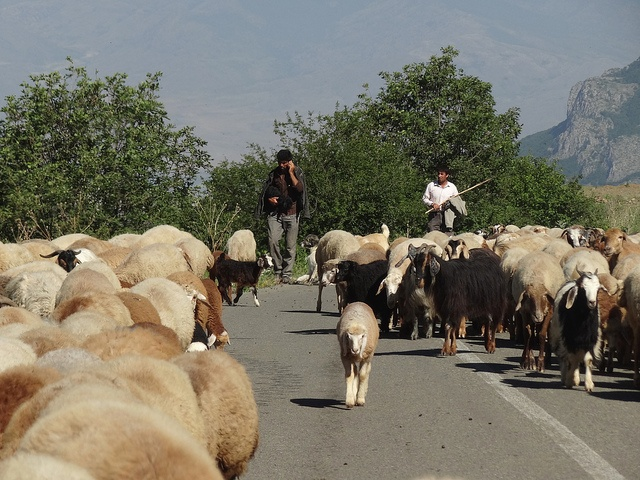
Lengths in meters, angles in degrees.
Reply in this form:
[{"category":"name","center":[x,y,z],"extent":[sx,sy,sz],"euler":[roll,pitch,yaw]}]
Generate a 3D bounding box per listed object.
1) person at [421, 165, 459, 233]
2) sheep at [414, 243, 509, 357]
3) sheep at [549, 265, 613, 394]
[{"category":"person","center":[3.412,-0.854,19.989],"extent":[0.917,2.297,0.721],"euler":[0,24,4]},{"category":"sheep","center":[2.433,0.969,11.950],"extent":[1.586,1.684,1.324],"euler":[1,-1,-18]},{"category":"sheep","center":[3.436,1.165,9.538],"extent":[0.616,1.466,1.327],"euler":[1,-1,19]}]
